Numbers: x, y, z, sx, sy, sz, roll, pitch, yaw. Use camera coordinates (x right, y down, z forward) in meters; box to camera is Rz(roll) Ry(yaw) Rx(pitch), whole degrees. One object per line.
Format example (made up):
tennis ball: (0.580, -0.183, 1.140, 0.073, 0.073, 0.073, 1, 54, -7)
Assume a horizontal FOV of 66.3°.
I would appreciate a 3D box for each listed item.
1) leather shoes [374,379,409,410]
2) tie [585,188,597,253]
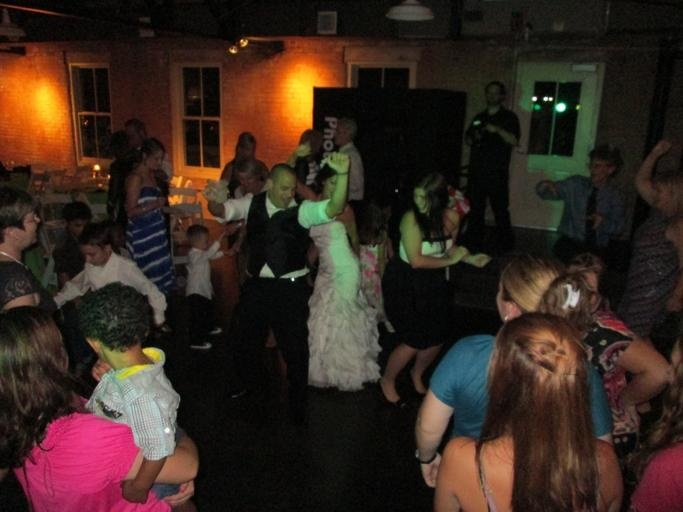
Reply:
leather shoes: (0.341, 1.030, 3.884, 0.322, 0.127, 0.101, 12, 17, 36)
tie: (2.233, -0.314, 4.779, 0.133, 0.579, 0.149, 3, -10, 3)
